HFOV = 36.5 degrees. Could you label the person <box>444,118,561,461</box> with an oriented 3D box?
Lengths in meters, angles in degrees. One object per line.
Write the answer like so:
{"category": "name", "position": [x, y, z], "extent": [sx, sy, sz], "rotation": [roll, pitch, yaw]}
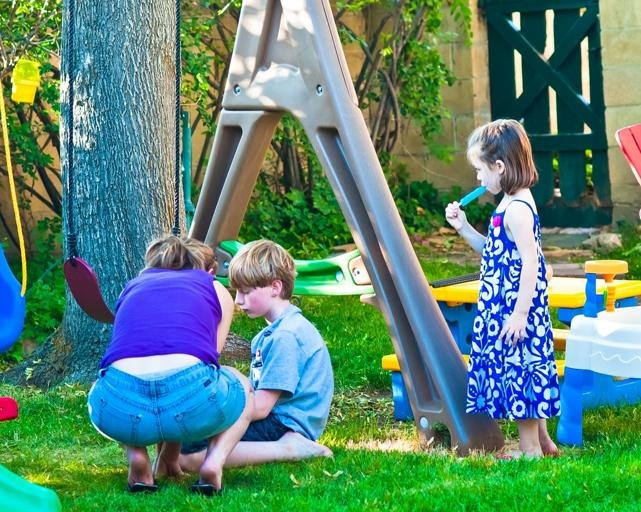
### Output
{"category": "person", "position": [0.845, 0.154, 4.462], "extent": [0.451, 1.303, 0.392], "rotation": [-3, 1, 15]}

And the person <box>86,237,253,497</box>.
{"category": "person", "position": [-0.642, 0.446, 4.089], "extent": [0.662, 1.036, 0.405], "rotation": [-3, 1, -16]}

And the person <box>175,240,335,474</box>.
{"category": "person", "position": [-0.397, 0.488, 4.839], "extent": [0.827, 1.329, 0.872], "rotation": [1, -2, -10]}

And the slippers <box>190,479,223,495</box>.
{"category": "slippers", "position": [-0.464, 0.949, 3.986], "extent": [0.130, 0.053, 0.055], "rotation": [15, 21, 7]}
